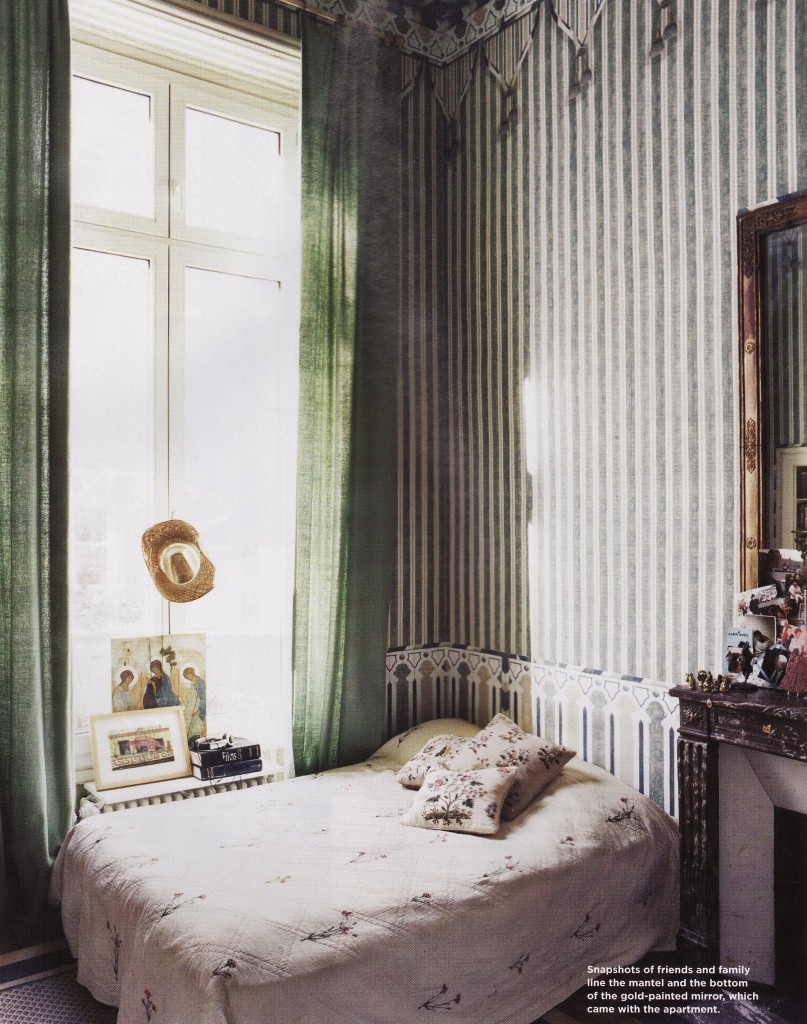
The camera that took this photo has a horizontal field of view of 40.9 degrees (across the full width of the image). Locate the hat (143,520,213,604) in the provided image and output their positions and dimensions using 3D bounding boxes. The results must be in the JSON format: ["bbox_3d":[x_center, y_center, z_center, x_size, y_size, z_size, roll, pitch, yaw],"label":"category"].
[{"bbox_3d":[-0.759,0.158,3.640,0.205,0.298,0.089,-26,2,-33],"label":"hat"}]

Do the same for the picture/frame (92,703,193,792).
[{"bbox_3d":[-0.887,0.790,3.621,0.262,0.235,0.012,4,-28,-46],"label":"picture/frame"}]
